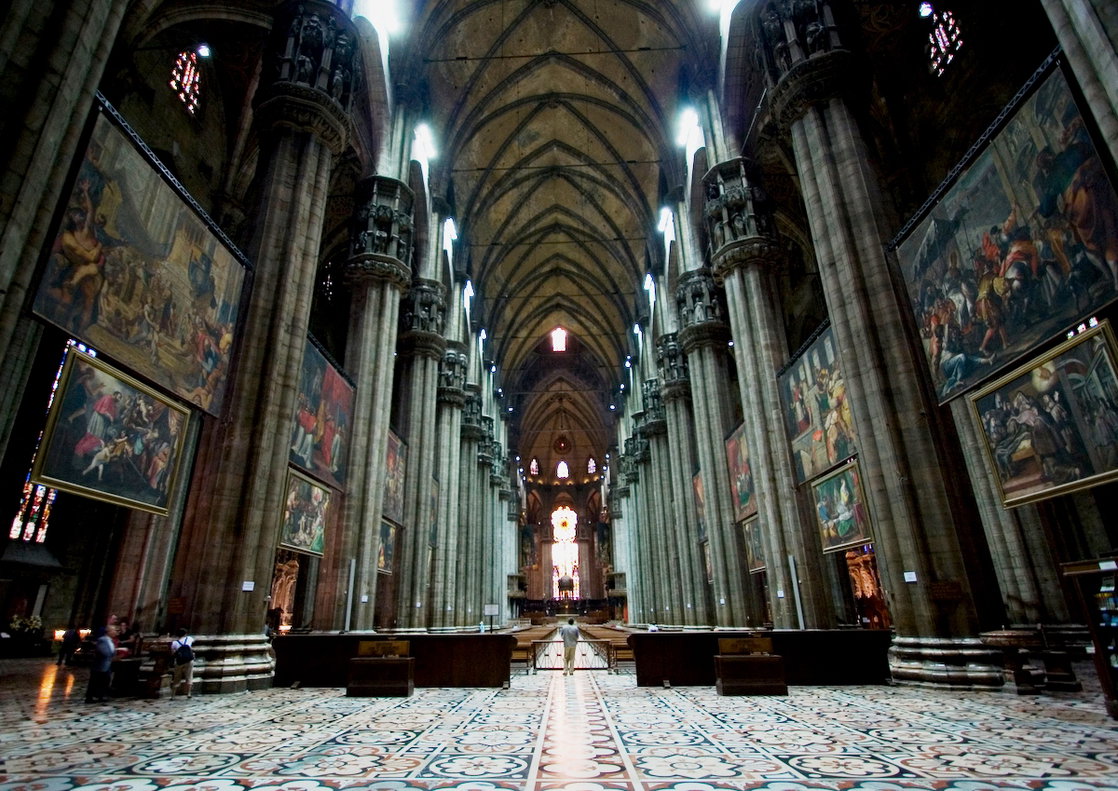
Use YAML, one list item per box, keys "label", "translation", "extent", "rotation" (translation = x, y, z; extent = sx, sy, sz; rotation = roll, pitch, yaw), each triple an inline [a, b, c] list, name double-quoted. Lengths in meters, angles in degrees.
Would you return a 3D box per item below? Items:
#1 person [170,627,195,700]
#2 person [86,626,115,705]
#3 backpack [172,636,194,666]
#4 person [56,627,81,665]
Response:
- label: "person"
  translation: [-6.632, 4.678, 11.264]
  extent: [0.419, 1.083, 0.507]
  rotation: [9, -24, -25]
- label: "person"
  translation: [-7.681, 4.555, 10.763]
  extent: [0.356, 1.034, 0.456]
  rotation: [14, -26, -34]
- label: "backpack"
  translation: [-6.597, 4.475, 11.199]
  extent: [0.255, 0.524, 0.370]
  rotation: [-22, -19, 25]
- label: "person"
  translation: [-13.333, 6.846, 17.482]
  extent: [0.404, 1.034, 1.543]
  rotation: [14, -28, -34]
